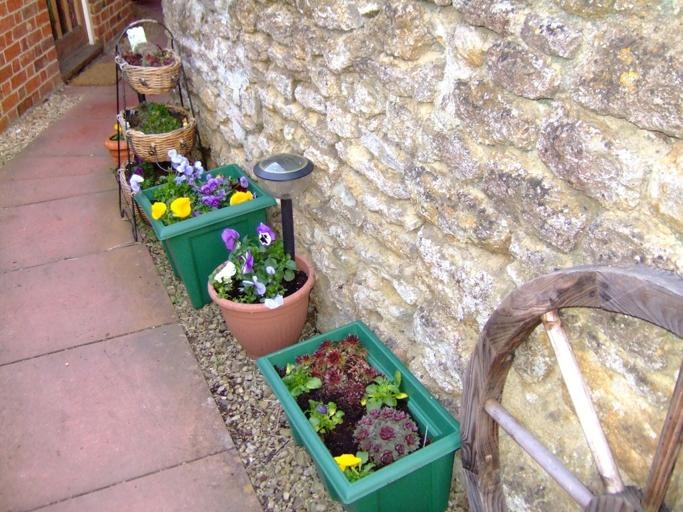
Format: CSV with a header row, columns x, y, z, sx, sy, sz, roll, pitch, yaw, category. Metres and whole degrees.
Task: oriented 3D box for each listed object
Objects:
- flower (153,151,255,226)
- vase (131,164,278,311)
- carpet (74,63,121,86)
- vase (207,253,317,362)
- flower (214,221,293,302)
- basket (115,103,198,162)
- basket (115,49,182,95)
x,y,z,sx,sy,sz,roll,pitch,yaw,category
-0.794,-0.376,2.996,0.462,0.155,0.445,-17,50,-23,flower
-0.767,-0.074,3.090,0.631,0.564,0.586,-17,27,-26,vase
-2.740,-2.028,5.858,0.444,0.059,0.801,-9,41,-13,carpet
-0.393,0.232,2.616,0.451,0.386,0.483,-14,32,-20,vase
-0.376,0.020,2.542,0.301,0.201,0.361,-18,42,19,flower
-1.118,-0.728,3.275,0.362,0.196,0.426,-31,54,-26,basket
-1.176,-1.165,3.195,0.276,0.149,0.305,-16,41,-19,basket
